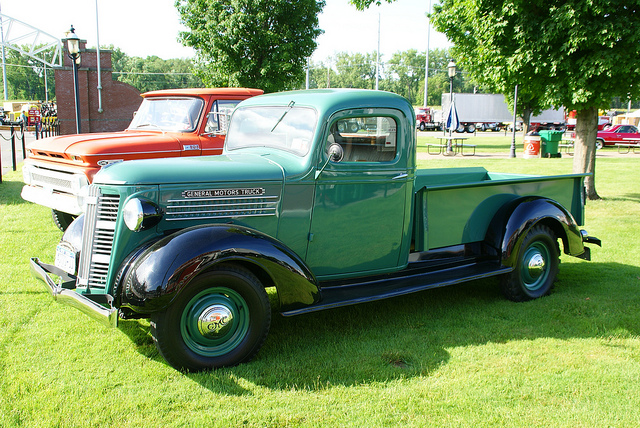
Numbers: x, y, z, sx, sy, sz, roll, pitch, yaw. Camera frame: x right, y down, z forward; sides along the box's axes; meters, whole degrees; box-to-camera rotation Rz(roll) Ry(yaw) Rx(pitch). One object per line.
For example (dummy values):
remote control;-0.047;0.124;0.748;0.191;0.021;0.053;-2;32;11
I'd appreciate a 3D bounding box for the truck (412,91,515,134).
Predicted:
truck;15.443;-10.853;55.359;10.225;4.347;3.236;-1;16;-14

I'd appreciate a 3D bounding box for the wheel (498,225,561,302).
wheel;2.860;0.668;7.110;0.956;1.019;0.301;-3;6;-36

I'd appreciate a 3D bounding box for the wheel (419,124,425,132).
wheel;11.225;-9.662;57.146;0.682;0.734;0.231;-1;13;-24

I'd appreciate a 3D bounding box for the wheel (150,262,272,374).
wheel;-1.204;1.101;5.511;1.047;1.086;0.352;-5;6;-23

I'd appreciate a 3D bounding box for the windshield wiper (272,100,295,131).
windshield wiper;-0.455;-1.223;6.443;0.076;0.479;0.055;34;4;-28

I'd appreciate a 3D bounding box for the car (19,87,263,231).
car;-3.281;-1.160;10.329;4.599;2.362;2.766;-2;6;-33

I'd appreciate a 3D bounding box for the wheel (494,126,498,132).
wheel;20.374;-9.854;59.618;0.345;0.532;0.123;13;2;14
